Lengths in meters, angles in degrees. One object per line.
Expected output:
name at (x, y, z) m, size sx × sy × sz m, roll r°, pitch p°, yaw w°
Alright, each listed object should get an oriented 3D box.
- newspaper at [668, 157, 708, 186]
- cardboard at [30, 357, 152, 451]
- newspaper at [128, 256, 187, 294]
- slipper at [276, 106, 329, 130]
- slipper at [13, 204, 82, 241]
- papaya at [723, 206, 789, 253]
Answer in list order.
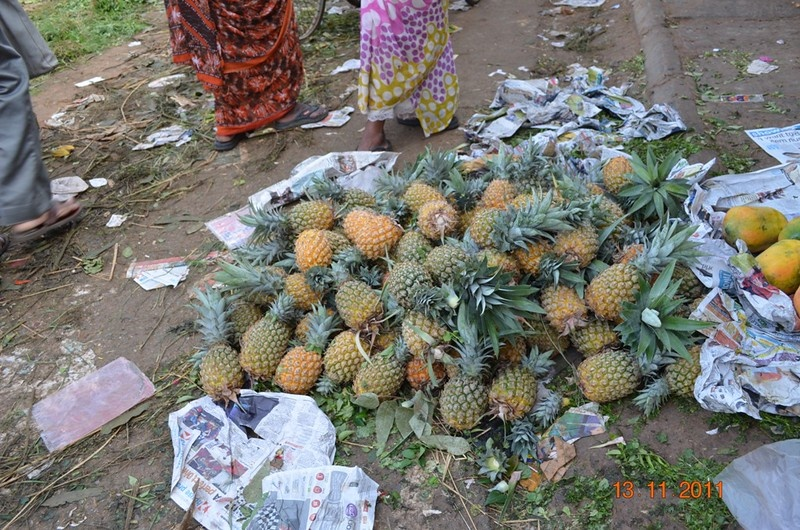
newspaper at (2.241, -0.717, 4.461) m, size 0.296 × 0.101 × 0.246 m, roll -16°, pitch 11°, yaw -23°
cardboard at (-2.319, 1.031, 4.333) m, size 0.838 × 0.172 × 0.498 m, roll -28°, pitch 44°, yaw -20°
newspaper at (-2.154, 0.083, 5.075) m, size 0.452 × 0.090 × 0.310 m, roll 2°, pitch 53°, yaw 16°
slipper at (-1.077, -1.597, 6.335) m, size 0.492 × 0.165 × 0.257 m, roll -18°, pitch 32°, yaw 5°
slipper at (-3.335, -0.410, 5.499) m, size 0.604 × 0.168 × 0.314 m, roll -32°, pitch 23°, yaw -21°
papaya at (2.500, -0.251, 4.143) m, size 0.433 × 0.236 × 0.287 m, roll -6°, pitch 19°, yaw -5°
